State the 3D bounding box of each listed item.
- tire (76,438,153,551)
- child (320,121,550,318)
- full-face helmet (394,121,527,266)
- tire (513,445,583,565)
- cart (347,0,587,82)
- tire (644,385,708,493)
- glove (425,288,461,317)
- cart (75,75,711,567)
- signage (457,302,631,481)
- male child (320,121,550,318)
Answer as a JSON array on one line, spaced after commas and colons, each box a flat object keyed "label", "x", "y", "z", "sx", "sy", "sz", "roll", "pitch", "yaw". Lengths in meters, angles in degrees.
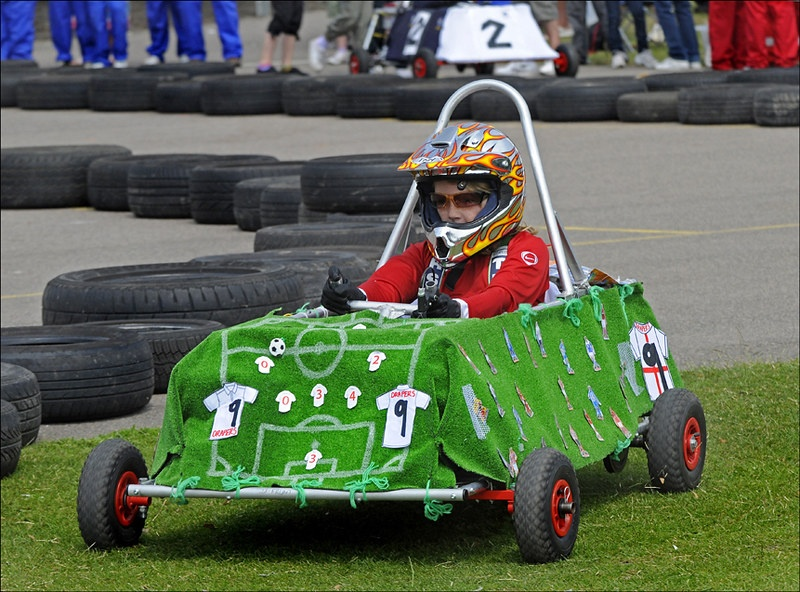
[{"label": "tire", "x": -1.296, "y": 0.928, "z": 6.864, "sx": 0.142, "sy": 0.441, "sz": 0.398, "roll": 13, "pitch": 19, "yaw": 29}, {"label": "child", "x": 0.291, "y": -0.405, "z": 7.441, "sx": 0.839, "sy": 0.891, "sz": 1.308, "roll": 6, "pitch": 13, "yaw": 38}, {"label": "full-face helmet", "x": 0.329, "y": -0.508, "z": 7.445, "sx": 0.533, "sy": 0.653, "sz": 0.661, "roll": 3, "pitch": 7, "yaw": 40}, {"label": "tire", "x": 0.654, "y": 0.928, "z": 6.698, "sx": 0.138, "sy": 0.497, "sz": 0.356, "roll": 1, "pitch": 7, "yaw": 45}, {"label": "cart", "x": 0.662, "y": -3.047, "z": 18.135, "sx": 1.330, "sy": 0.670, "sz": 2.224, "roll": -5, "pitch": 5, "yaw": -25}, {"label": "tire", "x": 1.337, "y": 0.718, "z": 7.429, "sx": 0.207, "sy": 0.488, "sz": 0.432, "roll": 7, "pitch": 14, "yaw": 45}, {"label": "glove", "x": 0.196, "y": 0.039, "z": 6.980, "sx": 0.100, "sy": 0.126, "sz": 0.134, "roll": 6, "pitch": -9, "yaw": 10}, {"label": "cart", "x": 0.190, "y": 0.003, "z": 7.386, "sx": 2.077, "sy": 1.888, "sz": 2.704, "roll": -2, "pitch": -1, "yaw": 32}, {"label": "signage", "x": 0.666, "y": 0.431, "z": 6.970, "sx": 0.637, "sy": 0.360, "sz": 0.912, "roll": -9, "pitch": -3, "yaw": 26}, {"label": "male child", "x": 0.278, "y": -0.356, "z": 7.350, "sx": 0.779, "sy": 0.841, "sz": 1.158, "roll": 2, "pitch": 0, "yaw": 37}]
